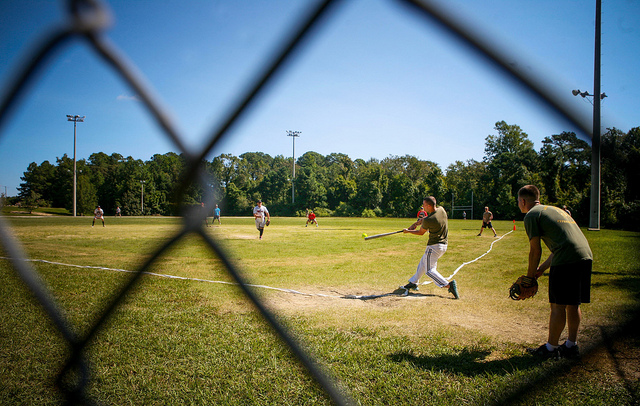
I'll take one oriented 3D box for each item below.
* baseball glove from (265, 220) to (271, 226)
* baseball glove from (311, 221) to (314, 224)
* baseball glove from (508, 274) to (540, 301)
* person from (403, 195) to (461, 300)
[{"bbox_3d":[-2.856,1.118,26.861,0.256,0.544,0.311,8,17,-7],"label":"baseball glove"},{"bbox_3d":[-0.569,1.429,35.348,0.051,0.187,0.182,10,-9,-36],"label":"baseball glove"},{"bbox_3d":[2.938,1.241,7.234,0.303,0.405,0.427,30,-11,22],"label":"baseball glove"},{"bbox_3d":[2.214,0.881,9.677,1.092,1.897,1.277,3,11,10],"label":"person"}]
